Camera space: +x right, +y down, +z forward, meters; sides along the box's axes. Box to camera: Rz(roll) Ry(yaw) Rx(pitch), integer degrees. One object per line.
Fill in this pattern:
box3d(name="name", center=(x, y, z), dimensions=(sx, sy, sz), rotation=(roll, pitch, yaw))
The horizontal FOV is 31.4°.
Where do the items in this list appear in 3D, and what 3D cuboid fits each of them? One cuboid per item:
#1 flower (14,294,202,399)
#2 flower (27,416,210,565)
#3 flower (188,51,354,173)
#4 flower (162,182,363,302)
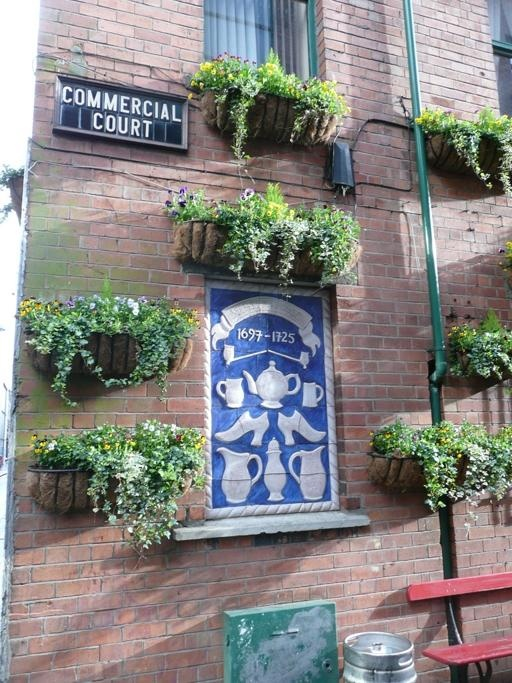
box3d(name="flower", center=(-0.896, 0.005, 5.396), dimensions=(1.111, 0.475, 0.954), rotation=(2, 6, -9))
box3d(name="flower", center=(-0.773, 0.832, 5.155), dimensions=(0.985, 0.750, 0.449), rotation=(1, -4, -12))
box3d(name="flower", center=(0.091, -1.535, 5.955), dimensions=(1.016, 0.703, 0.344), rotation=(2, -4, -26))
box3d(name="flower", center=(0.058, -0.687, 5.748), dimensions=(1.258, 0.642, 0.408), rotation=(1, -4, -23))
